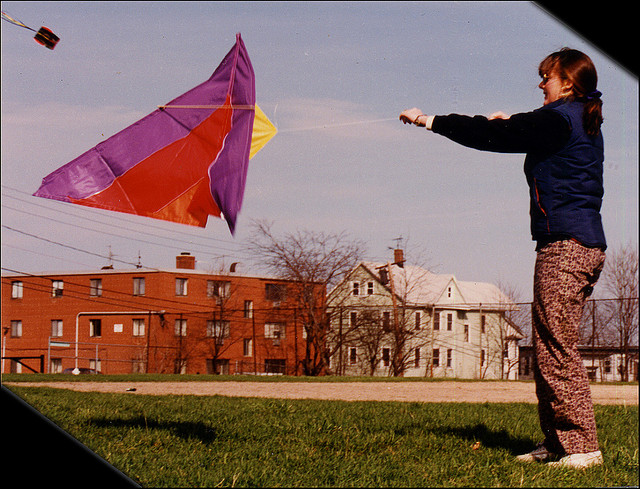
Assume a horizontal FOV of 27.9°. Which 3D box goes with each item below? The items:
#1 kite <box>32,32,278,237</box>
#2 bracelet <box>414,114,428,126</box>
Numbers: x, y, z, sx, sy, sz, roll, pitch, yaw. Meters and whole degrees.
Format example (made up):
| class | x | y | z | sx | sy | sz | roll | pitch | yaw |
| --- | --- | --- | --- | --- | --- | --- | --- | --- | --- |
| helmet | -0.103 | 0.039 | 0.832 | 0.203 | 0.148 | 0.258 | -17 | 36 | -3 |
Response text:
| class | x | y | z | sx | sy | sz | roll | pitch | yaw |
| --- | --- | --- | --- | --- | --- | --- | --- | --- | --- |
| kite | -1.468 | -0.904 | 12.922 | 2.114 | 2.257 | 0.821 | 37 | 2 | 10 |
| bracelet | 0.994 | -1.216 | 12.552 | 0.125 | 0.107 | 0.076 | 2 | 1 | 1 |
